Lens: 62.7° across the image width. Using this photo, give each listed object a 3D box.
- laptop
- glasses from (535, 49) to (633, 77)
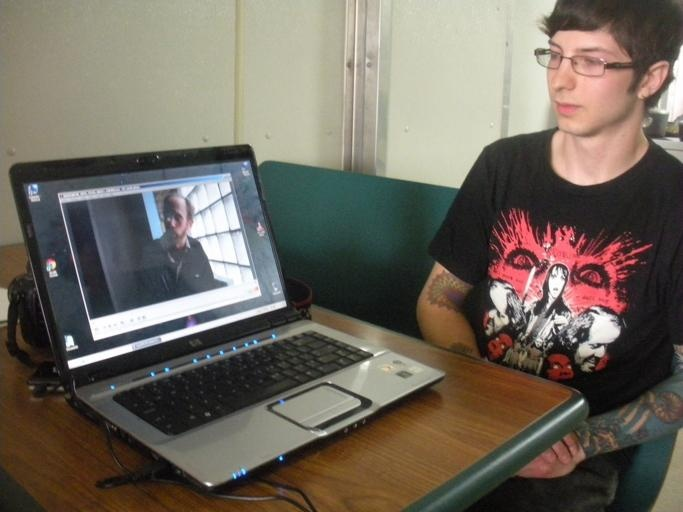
[{"bbox_3d":[-0.177,0.067,0.858,0.499,0.360,0.516,-17,23,-40],"label":"laptop"},{"bbox_3d":[0.449,-0.380,1.093,0.088,0.061,0.195,-17,21,-27],"label":"glasses"}]
